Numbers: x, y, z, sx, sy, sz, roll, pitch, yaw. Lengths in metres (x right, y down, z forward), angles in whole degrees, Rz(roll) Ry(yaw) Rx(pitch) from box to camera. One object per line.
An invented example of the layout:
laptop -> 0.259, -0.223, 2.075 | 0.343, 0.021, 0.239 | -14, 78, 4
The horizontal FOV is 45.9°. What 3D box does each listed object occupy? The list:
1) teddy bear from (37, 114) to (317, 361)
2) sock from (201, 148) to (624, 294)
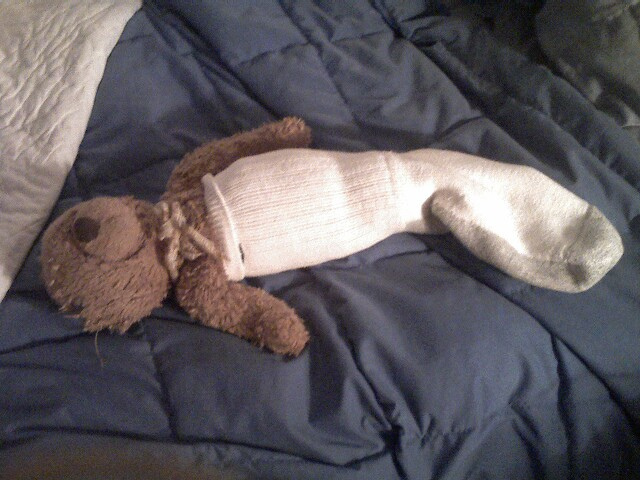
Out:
teddy bear -> -0.311, -0.033, 1.692 | 0.580, 0.163, 0.575 | 3, 78, -1
sock -> 0.214, -0.054, 1.821 | 0.943, 0.264, 0.477 | 7, 39, 3
